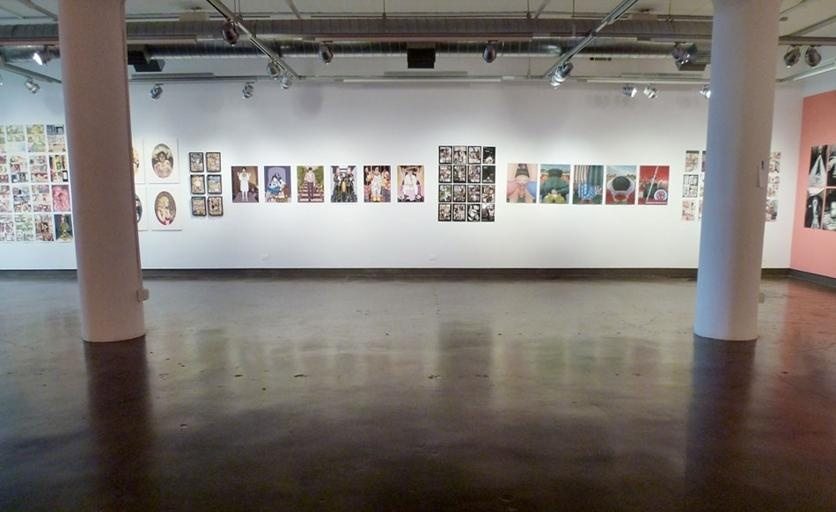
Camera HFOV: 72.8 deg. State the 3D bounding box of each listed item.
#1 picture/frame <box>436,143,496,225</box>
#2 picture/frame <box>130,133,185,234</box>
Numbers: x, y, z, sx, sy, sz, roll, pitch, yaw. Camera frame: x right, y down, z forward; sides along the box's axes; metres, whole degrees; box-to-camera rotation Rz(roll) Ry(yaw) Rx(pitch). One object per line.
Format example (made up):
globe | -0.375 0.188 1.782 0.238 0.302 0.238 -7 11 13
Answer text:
picture/frame | 1.198 -1.895 13.980 1.930 2.392 0.086 0 4 0
picture/frame | -6.425 -1.802 14.048 1.280 2.341 0.212 0 7 7
